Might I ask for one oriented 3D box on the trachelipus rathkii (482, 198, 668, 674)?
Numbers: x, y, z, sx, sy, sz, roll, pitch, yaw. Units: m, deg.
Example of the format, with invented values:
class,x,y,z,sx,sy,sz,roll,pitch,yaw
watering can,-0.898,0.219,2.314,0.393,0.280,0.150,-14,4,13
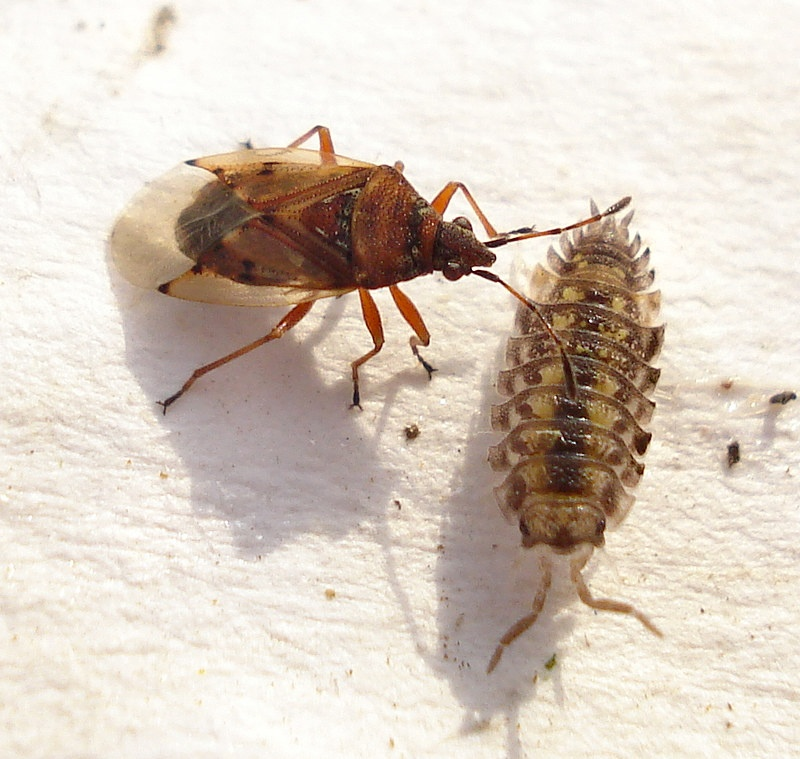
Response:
class,x,y,z,sx,sy,sz,roll,pitch,yaw
trachelipus rathkii,1.258,0.185,8.471,1.160,0.801,2.931,6,73,10
